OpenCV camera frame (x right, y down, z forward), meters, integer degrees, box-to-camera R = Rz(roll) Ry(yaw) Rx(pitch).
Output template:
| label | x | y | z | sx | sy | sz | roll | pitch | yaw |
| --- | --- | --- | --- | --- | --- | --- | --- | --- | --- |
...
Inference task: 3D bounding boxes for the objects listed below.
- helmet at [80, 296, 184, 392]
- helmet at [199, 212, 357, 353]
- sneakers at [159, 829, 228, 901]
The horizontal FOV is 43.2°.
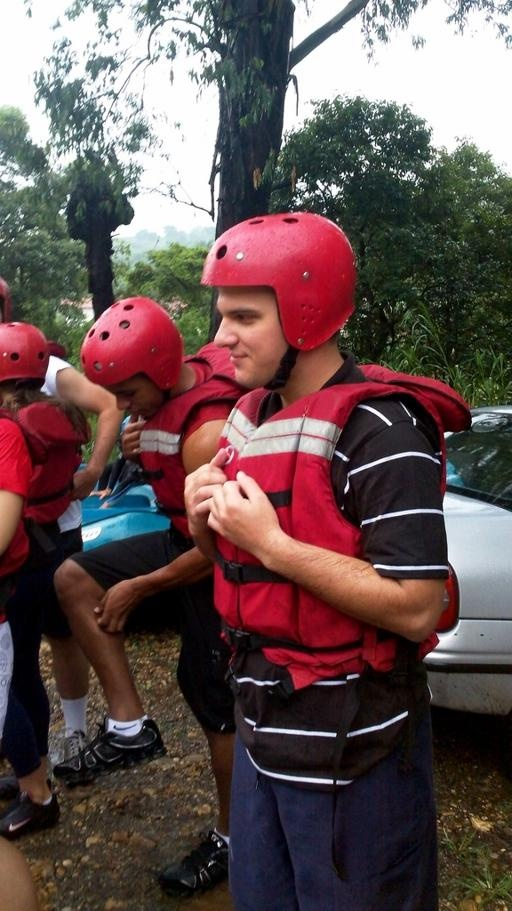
| label | x | y | z | sx | sy | sz | roll | pitch | yaw |
| --- | --- | --- | --- | --- | --- | --- | --- | --- | --- |
| helmet | -0.347 | -0.347 | 1.970 | 0.226 | 0.262 | 0.321 | 9 | 16 | 21 |
| helmet | 0.051 | -0.344 | 1.251 | 0.243 | 0.238 | 0.284 | 9 | 31 | 28 |
| sneakers | -0.147 | 1.445 | 2.310 | 0.135 | 0.184 | 0.395 | -13 | -22 | 31 |
